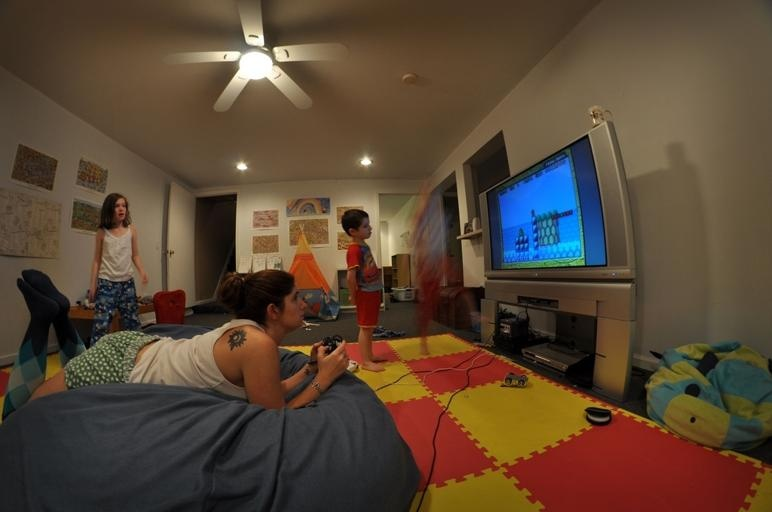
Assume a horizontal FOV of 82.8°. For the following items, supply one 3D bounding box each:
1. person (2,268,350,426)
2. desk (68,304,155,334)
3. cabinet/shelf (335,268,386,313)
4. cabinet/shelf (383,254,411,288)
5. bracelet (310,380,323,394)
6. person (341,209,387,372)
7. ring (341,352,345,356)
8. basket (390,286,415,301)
[{"bbox_3d":[-1.267,0.487,3.233,2.585,1.129,0.901,-2,7,-1],"label":"person"},{"bbox_3d":[-2.777,0.626,4.347,0.382,0.293,0.589,0,3,16],"label":"desk"},{"bbox_3d":[-0.503,0.559,6.952,0.953,0.965,0.704,-1,-6,-3],"label":"cabinet/shelf"},{"bbox_3d":[0.087,0.110,3.355,0.091,0.250,0.282,0,-6,-8],"label":"cabinet/shelf"},{"bbox_3d":[-0.453,0.862,2.866,0.065,0.067,0.020,25,48,29],"label":"bracelet"},{"bbox_3d":[-0.211,0.291,3.847,0.323,1.403,0.208,-1,-2,-5],"label":"person"},{"bbox_3d":[-0.291,0.661,2.940,0.034,0.025,0.019,-1,3,-1],"label":"ring"},{"bbox_3d":[0.139,0.296,3.443,0.124,0.070,0.187,0,-5,-17],"label":"basket"}]
